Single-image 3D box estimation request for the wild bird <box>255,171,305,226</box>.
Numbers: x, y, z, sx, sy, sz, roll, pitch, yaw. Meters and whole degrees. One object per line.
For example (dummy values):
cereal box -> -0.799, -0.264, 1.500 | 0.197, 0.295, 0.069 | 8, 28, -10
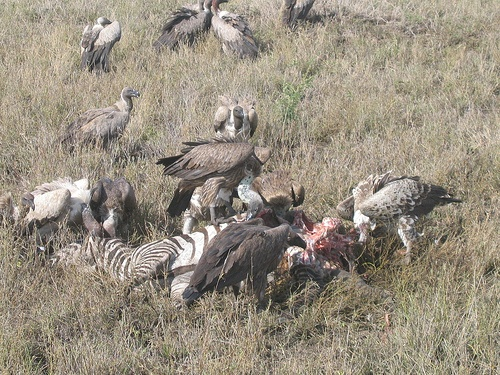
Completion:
wild bird -> 0.400, 0.079, 10.285 | 0.498, 0.273, 0.625 | -4, 46, 28
